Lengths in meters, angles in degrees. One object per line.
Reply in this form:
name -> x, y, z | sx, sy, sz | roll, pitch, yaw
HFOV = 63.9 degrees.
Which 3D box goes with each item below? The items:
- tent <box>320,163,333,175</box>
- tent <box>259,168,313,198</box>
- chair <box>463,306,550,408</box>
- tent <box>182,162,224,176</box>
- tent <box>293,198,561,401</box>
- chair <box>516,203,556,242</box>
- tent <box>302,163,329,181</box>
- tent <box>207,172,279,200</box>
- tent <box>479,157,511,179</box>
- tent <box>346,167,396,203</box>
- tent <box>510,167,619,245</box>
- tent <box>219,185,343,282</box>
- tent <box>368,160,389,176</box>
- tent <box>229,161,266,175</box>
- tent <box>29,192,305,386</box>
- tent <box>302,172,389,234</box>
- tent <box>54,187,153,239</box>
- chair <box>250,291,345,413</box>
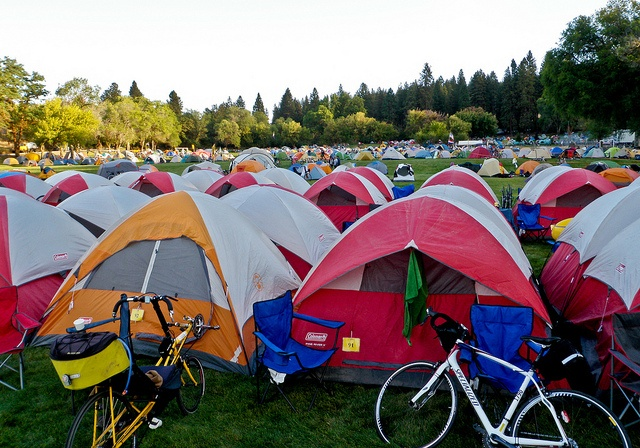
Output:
tent -> 0.237, -3.521, 32.208 | 1.005, 0.469, 1.033 | 10, 16, 44
tent -> -1.337, -1.761, 19.974 | 1.415, 0.573, 1.506 | 21, 20, 12
chair -> 2.666, 1.870, 7.594 | 1.147, 1.907, 1.234 | 0, -8, 11
tent -> -6.608, -3.295, 29.056 | 1.726, 0.825, 1.952 | -2, 5, -39
tent -> 1.645, 1.057, 9.182 | 2.973, 2.115, 3.152 | -1, 7, 20
chair -> 5.903, -0.037, 14.683 | 0.985, 1.366, 0.950 | -1, 4, -3
tent -> -0.422, -3.175, 30.774 | 1.350, 0.552, 1.434 | 4, 13, 19
tent -> -2.688, -1.302, 15.911 | 1.348, 0.550, 1.258 | 2, 6, 3
tent -> 10.317, -3.352, 30.690 | 1.258, 0.625, 1.332 | -1, 11, 2
tent -> 2.037, -1.710, 19.831 | 1.441, 0.694, 1.561 | 10, 12, 23
tent -> 6.927, -0.744, 15.575 | 2.408, 1.662, 2.557 | -3, 11, 2
tent -> -0.822, -0.085, 10.913 | 1.890, 1.112, 2.330 | 8, 18, 16
tent -> 3.745, -3.728, 32.960 | 1.236, 0.868, 1.316 | 1, 4, 5
tent -> -3.614, -2.931, 25.875 | 1.653, 0.764, 1.574 | 1, 7, 11
tent -> -2.144, 0.800, 9.716 | 3.460, 1.987, 3.171 | 1, 13, 12
tent -> 0.693, -0.880, 16.529 | 2.099, 0.996, 1.962 | 3, 10, 33
tent -> -5.349, -0.448, 12.599 | 1.696, 0.783, 2.161 | -9, 20, -34
chair -> -0.416, 1.912, 8.034 | 1.288, 1.578, 1.165 | -1, 8, -5
